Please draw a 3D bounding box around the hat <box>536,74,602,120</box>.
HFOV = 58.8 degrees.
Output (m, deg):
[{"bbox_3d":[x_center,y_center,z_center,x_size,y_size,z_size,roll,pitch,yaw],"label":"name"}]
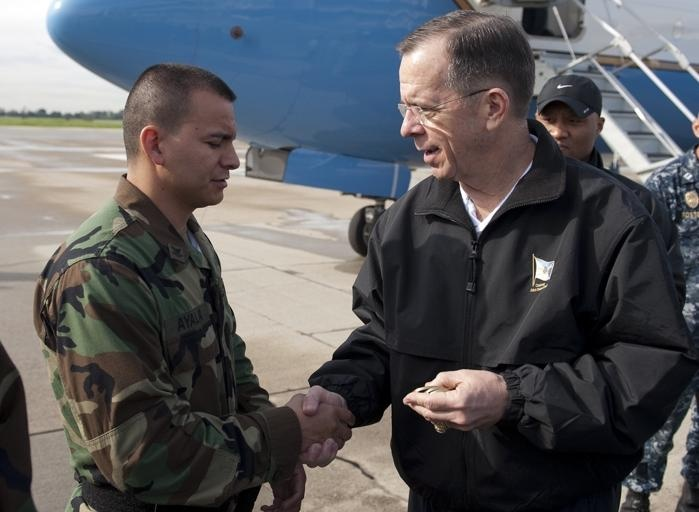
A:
[{"bbox_3d":[1.428,-1.044,4.042,0.404,0.274,0.569,11,11,29],"label":"hat"}]
